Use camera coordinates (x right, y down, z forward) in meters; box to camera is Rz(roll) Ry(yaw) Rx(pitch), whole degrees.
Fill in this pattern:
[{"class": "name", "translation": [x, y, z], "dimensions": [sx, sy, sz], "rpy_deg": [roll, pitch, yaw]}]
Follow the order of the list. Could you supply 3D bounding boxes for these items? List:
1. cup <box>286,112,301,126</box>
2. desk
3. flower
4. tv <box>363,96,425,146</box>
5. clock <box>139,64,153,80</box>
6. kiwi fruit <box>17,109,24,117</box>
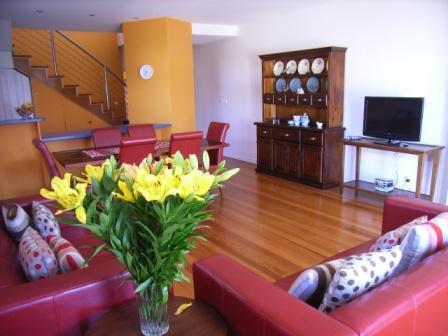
[{"class": "cup", "translation": [1.284, -0.884, 5.645], "dimensions": [0.273, 0.134, 0.203], "rpy_deg": [1, 7, -3]}, {"class": "desk", "translation": [2.346, 0.052, 4.407], "dimensions": [0.720, 0.861, 1.220], "rpy_deg": [-6, 13, -32]}, {"class": "flower", "translation": [-0.305, 0.282, 1.211], "dimensions": [0.660, 0.692, 0.353], "rpy_deg": [4, 11, 16]}, {"class": "tv", "translation": [2.355, -0.645, 4.240], "dimensions": [0.155, 0.496, 0.586], "rpy_deg": [-17, 26, -31]}, {"class": "clock", "translation": [-1.531, -1.902, 6.115], "dimensions": [0.259, 0.300, 0.035], "rpy_deg": [6, 18, 22]}, {"class": "kiwi fruit", "translation": [-2.878, -0.779, 4.355], "dimensions": [0.083, 0.079, 0.094], "rpy_deg": [9, 16, 29]}]
